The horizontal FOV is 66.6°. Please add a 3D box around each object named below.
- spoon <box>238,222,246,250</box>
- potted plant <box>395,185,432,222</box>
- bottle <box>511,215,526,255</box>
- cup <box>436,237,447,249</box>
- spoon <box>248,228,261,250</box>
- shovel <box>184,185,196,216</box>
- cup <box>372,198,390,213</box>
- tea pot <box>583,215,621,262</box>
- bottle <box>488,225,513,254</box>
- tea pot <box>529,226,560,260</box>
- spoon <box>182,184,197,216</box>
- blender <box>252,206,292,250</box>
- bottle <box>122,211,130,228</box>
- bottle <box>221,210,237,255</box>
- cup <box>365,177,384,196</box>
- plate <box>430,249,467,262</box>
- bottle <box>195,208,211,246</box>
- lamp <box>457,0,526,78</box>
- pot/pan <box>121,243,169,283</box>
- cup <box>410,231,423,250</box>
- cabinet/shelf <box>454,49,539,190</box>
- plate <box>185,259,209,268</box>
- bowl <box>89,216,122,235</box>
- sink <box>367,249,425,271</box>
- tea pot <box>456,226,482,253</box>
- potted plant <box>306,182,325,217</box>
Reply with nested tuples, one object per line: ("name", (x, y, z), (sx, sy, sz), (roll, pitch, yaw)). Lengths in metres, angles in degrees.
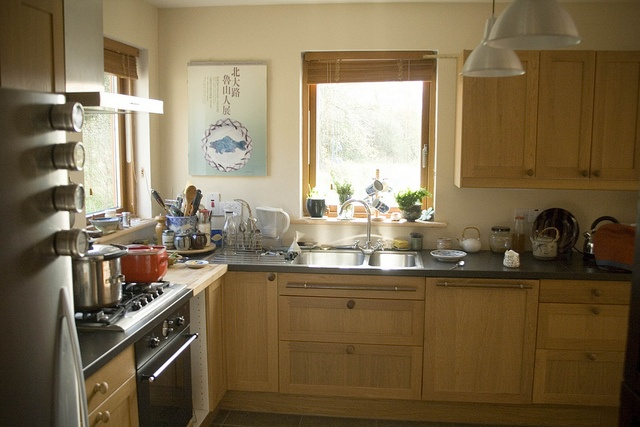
("spoon", (-0.630, 0.175, 3.888), (0.061, 0.203, 0.149), (-1, 7, -9))
("potted plant", (0.729, -0.081, 3.908), (0.262, 0.246, 0.270), (-3, 4, -22))
("bottle", (1.575, 0.154, 3.846), (0.098, 0.307, 0.147), (3, 7, 24))
("cup", (0.966, 0.235, 3.872), (0.079, 0.072, 0.079), (2, 4, 0))
("spoon", (-0.520, 0.224, 3.832), (0.113, 0.136, 0.037), (-1, 7, -8))
("shovel", (-1.046, -0.112, 3.896), (0.067, 0.046, 0.312), (-2, 44, -3))
("cup", (0.494, -0.064, 3.990), (0.121, 0.124, 0.094), (3, 7, 18))
("tea pot", (2.073, 0.181, 3.613), (0.209, 0.315, 0.578), (4, 8, 29))
("bottle", (1.423, 0.206, 3.830), (0.163, 0.202, 0.182), (3, 7, 24))
("tea pot", (1.710, 0.211, 3.696), (0.192, 0.235, 0.361), (4, 7, 25))
("spoon", (-1.057, -0.110, 3.912), (0.104, 0.236, 0.231), (-2, 7, -16))
("blender", (-0.394, 0.111, 3.986), (0.282, 0.327, 0.303), (-1, 7, -8))
("bottle", (-1.491, 0.047, 3.723), (0.052, 0.112, 0.097), (-2, 7, -21))
("bottle", (-0.731, 0.138, 3.895), (0.110, 0.299, 0.251), (-2, 7, -16))
("cup", (0.462, -0.212, 4.003), (0.165, 0.137, 0.132), (-2, 7, -17))
("plate", (0.966, 0.318, 3.641), (0.267, 0.048, 0.255), (2, 7, 12))
("bottle", (-0.927, 0.115, 3.860), (0.100, 0.270, 0.214), (-1, 7, -11))
("lamp", (0.965, -0.966, 2.848), (0.425, 0.419, 0.390), (1, 4, -4))
("pot/pan", (-1.011, 0.290, 2.773), (0.275, 0.179, 0.197), (0, -1, -5))
("cup", (0.775, 0.223, 3.914), (0.111, 0.137, 0.113), (0, 7, 0))
("cabinet/shelf", (1.334, -0.679, 3.679), (0.562, 0.952, 0.339), (1, 3, 7))
("plate", (-0.873, 0.349, 3.428), (0.163, 0.034, 0.220), (-1, 7, -9))
("bowl", (-1.543, 0.081, 3.566), (0.190, 0.110, 0.275), (5, 8, 37))
("sink", (0.564, 0.359, 3.732), (0.250, 0.099, 0.167), (1, 13, 11))
("tea pot", (1.188, 0.205, 3.853), (0.184, 0.189, 0.191), (0, 7, 0))
("potted plant", (-0.036, -0.076, 4.128), (0.158, 0.166, 0.232), (-1, -9, 6))
